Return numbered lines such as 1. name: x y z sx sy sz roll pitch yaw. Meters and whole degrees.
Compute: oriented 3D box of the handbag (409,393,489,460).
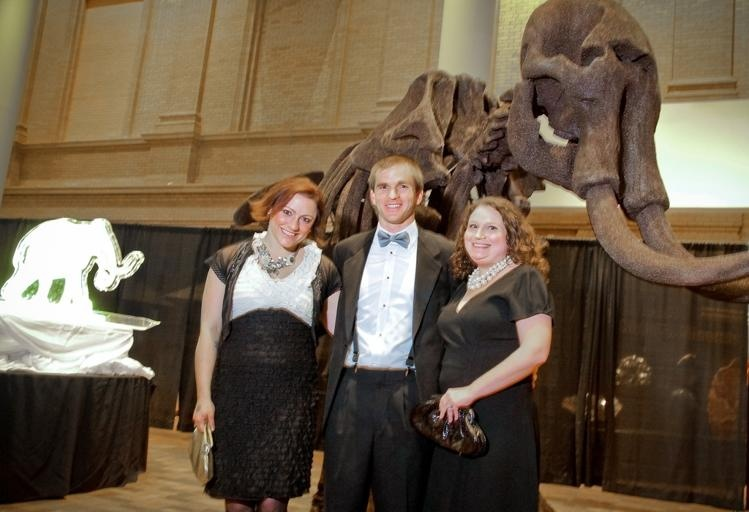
1. handbag: 0.365 0.819 2.600 0.364 0.297 0.134 4 0 21
